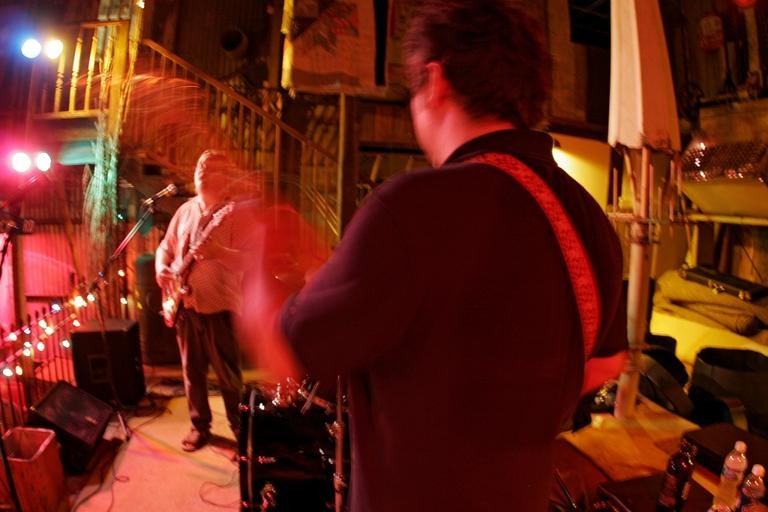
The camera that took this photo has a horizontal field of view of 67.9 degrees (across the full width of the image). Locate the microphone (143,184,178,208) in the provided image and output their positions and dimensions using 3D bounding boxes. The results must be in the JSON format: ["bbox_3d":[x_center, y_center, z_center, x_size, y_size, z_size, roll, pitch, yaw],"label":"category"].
[{"bbox_3d":[-2.862,-0.763,7.321,0.197,0.213,0.608,27,23,22],"label":"microphone"}]

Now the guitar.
[{"bbox_3d":[-2.023,0.126,6.307,0.549,1.592,0.221,35,23,17],"label":"guitar"}]

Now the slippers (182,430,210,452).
[{"bbox_3d":[-2.161,2.114,6.529,0.171,0.230,0.322,-3,-8,33],"label":"slippers"}]
